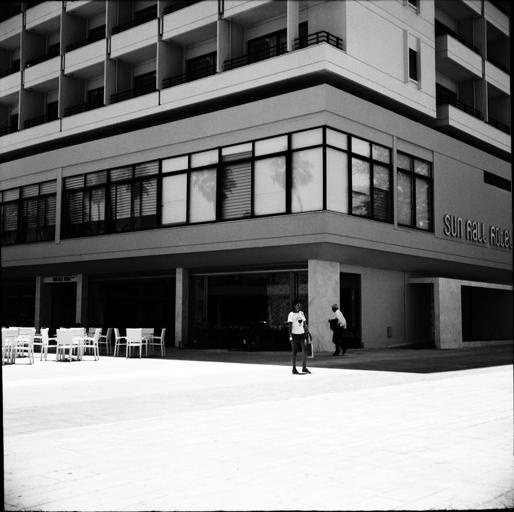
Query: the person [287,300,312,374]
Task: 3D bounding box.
[{"bbox_3d":[1.111,2.085,15.663,0.527,1.818,1.049,-1,-8,3],"label":"person"}]
